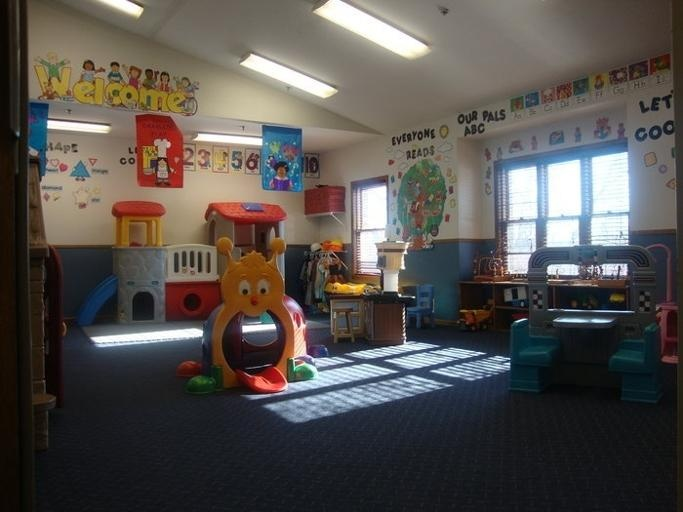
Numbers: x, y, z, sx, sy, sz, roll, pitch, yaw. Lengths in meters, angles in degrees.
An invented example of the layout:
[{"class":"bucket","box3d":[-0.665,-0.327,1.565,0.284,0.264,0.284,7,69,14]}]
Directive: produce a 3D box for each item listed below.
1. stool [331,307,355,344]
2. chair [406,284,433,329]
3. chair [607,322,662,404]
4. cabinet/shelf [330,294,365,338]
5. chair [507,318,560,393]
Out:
[{"class":"stool","box3d":[0.030,0.959,7.107,0.335,0.474,0.270,-1,2,-2]},{"class":"chair","box3d":[1.299,0.827,8.310,0.462,0.703,0.453,-4,-4,34]},{"class":"chair","box3d":[2.641,0.905,4.735,0.559,0.866,0.634,1,0,27]},{"class":"cabinet/shelf","box3d":[0.097,0.889,7.318,0.519,0.812,0.568,0,-2,-6]},{"class":"chair","box3d":[1.849,0.941,4.777,0.373,0.632,0.462,-2,-1,44]}]
